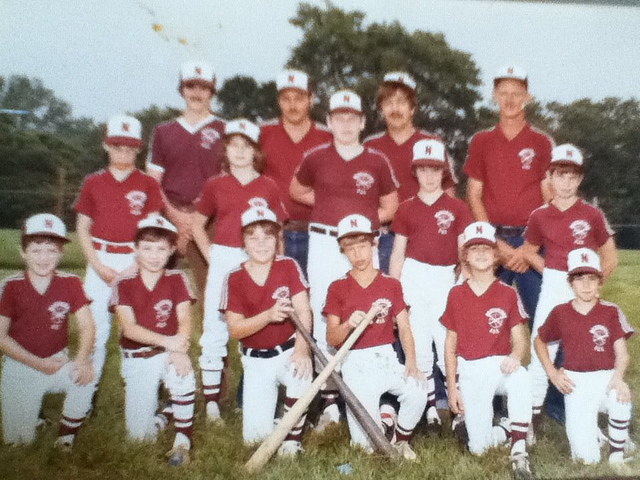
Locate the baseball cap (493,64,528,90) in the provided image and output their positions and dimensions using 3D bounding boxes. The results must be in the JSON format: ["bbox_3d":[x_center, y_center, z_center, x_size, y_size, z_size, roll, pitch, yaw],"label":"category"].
[{"bbox_3d":[1.641,-1.412,6.143,0.287,0.146,0.299,5,2,15],"label":"baseball cap"}]

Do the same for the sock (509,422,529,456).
[{"bbox_3d":[1.546,1.593,5.580,0.149,0.335,0.444,-1,-11,13],"label":"sock"}]

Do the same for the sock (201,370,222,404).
[{"bbox_3d":[-0.880,1.189,5.862,0.191,0.357,0.212,3,-10,-9],"label":"sock"}]

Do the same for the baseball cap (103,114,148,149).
[{"bbox_3d":[-1.648,-0.894,5.940,0.302,0.292,0.143,3,2,-21],"label":"baseball cap"}]

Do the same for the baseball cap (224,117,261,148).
[{"bbox_3d":[-0.660,-0.901,6.027,0.302,0.236,0.189,4,2,-11],"label":"baseball cap"}]

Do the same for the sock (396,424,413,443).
[{"bbox_3d":[0.635,1.491,5.508,0.112,0.126,0.120,-1,4,7],"label":"sock"}]

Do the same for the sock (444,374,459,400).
[{"bbox_3d":[1.084,1.211,5.907,0.141,0.180,0.172,4,-26,-7],"label":"sock"}]

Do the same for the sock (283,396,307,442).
[{"bbox_3d":[-0.198,1.378,5.471,0.172,0.341,0.273,3,2,-3],"label":"sock"}]

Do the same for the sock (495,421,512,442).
[{"bbox_3d":[1.451,1.511,5.694,0.123,0.108,0.084,4,2,3],"label":"sock"}]

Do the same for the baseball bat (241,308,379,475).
[{"bbox_3d":[-0.089,1.170,5.505,0.163,1.384,0.176,35,-15,2],"label":"baseball bat"}]

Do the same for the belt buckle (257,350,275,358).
[{"bbox_3d":[-0.431,0.891,5.598,0.130,0.060,0.017,4,2,-1],"label":"belt buckle"}]

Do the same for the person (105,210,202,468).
[{"bbox_3d":[-1.314,0.731,5.705,0.852,1.906,0.648,4,2,5],"label":"person"}]

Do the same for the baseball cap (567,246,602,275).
[{"bbox_3d":[2.134,0.175,5.808,0.249,0.179,0.220,4,2,-3],"label":"baseball cap"}]

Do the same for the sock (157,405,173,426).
[{"bbox_3d":[-1.232,1.386,5.682,0.106,0.130,0.109,4,2,11],"label":"sock"}]

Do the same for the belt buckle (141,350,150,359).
[{"bbox_3d":[-1.387,0.903,5.642,0.053,0.061,0.043,-2,-3,5],"label":"belt buckle"}]

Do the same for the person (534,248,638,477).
[{"bbox_3d":[2.108,0.996,5.896,0.755,1.822,0.814,-2,-9,16],"label":"person"}]

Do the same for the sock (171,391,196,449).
[{"bbox_3d":[-1.083,1.378,5.577,0.173,0.490,0.343,-1,-1,-2],"label":"sock"}]

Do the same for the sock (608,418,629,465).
[{"bbox_3d":[2.389,1.617,5.761,0.188,0.315,0.147,4,2,0],"label":"sock"}]

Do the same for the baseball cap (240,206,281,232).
[{"bbox_3d":[-0.473,-0.171,5.721,0.325,0.176,0.269,4,2,-8],"label":"baseball cap"}]

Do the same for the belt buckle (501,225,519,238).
[{"bbox_3d":[1.639,-0.077,6.218,0.100,0.084,0.106,2,3,34],"label":"belt buckle"}]

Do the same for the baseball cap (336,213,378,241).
[{"bbox_3d":[0.276,-0.096,5.696,0.282,0.204,0.166,4,2,4],"label":"baseball cap"}]

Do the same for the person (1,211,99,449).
[{"bbox_3d":[-2.145,0.699,5.638,0.739,1.781,0.335,4,2,3],"label":"person"}]

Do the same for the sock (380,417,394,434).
[{"bbox_3d":[0.528,1.460,5.667,0.126,0.109,0.052,2,3,-37],"label":"sock"}]
